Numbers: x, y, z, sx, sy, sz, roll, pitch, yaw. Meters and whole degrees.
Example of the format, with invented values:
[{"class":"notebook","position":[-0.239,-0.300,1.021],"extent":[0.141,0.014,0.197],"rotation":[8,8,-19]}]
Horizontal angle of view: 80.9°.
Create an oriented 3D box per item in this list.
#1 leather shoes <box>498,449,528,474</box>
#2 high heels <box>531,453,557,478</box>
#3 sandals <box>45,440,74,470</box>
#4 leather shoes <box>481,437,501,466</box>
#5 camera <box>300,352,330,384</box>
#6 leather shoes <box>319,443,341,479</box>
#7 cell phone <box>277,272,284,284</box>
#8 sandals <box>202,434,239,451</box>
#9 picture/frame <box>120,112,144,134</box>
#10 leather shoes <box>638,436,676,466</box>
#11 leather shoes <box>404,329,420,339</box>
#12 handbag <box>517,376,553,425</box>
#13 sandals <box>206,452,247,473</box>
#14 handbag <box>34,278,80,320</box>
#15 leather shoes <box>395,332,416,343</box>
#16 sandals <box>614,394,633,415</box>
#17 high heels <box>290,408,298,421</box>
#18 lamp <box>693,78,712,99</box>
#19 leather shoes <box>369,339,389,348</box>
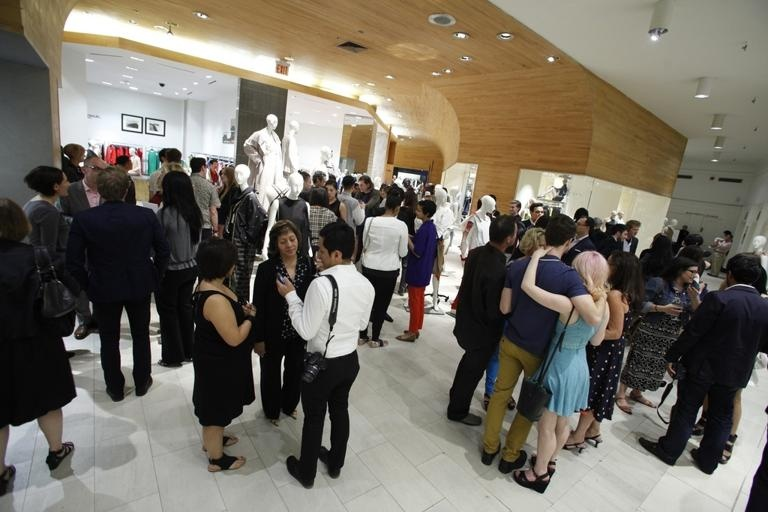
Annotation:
[{"class":"leather shoes","position":[1.388,2.121,4.756],"extent":[0.399,0.163,0.144],"rotation":[-7,11,-43]},{"class":"high heels","position":[1.640,2.124,4.658],"extent":[0.201,0.140,0.359],"rotation":[0,10,-3]},{"class":"sandals","position":[-3.037,1.859,4.280],"extent":[0.129,0.144,0.341],"rotation":[-2,10,-7]},{"class":"leather shoes","position":[1.154,2.076,4.701],"extent":[0.111,0.224,0.326],"rotation":[2,35,25]},{"class":"camera","position":[-0.613,0.956,3.969],"extent":[0.239,0.252,0.125],"rotation":[16,-1,2]},{"class":"leather shoes","position":[-0.552,2.010,4.426],"extent":[0.134,0.165,0.387],"rotation":[-5,27,-20]},{"class":"cell phone","position":[-0.930,0.187,4.069],"extent":[0.060,0.090,0.107],"rotation":[1,13,-15]},{"class":"sandals","position":[-1.621,1.846,4.514],"extent":[0.356,0.096,0.133],"rotation":[-1,5,-39]},{"class":"picture/frame","position":[-7.694,-4.111,13.664],"extent":[0.596,0.632,0.060],"rotation":[-18,25,-22]},{"class":"leather shoes","position":[3.100,2.194,5.134],"extent":[0.143,0.163,0.409],"rotation":[-18,24,-11]},{"class":"leather shoes","position":[0.413,1.118,6.520],"extent":[0.201,0.078,0.119],"rotation":[13,-3,-5]},{"class":"handbag","position":[1.448,1.357,4.303],"extent":[0.267,0.367,0.152],"rotation":[2,14,-10]},{"class":"sandals","position":[-1.528,1.979,4.367],"extent":[0.286,0.109,0.159],"rotation":[-3,7,-17]},{"class":"handbag","position":[-2.900,0.366,3.958],"extent":[0.180,0.339,0.335],"rotation":[-9,9,-14]},{"class":"leather shoes","position":[0.286,1.161,6.486],"extent":[0.349,0.148,0.116],"rotation":[7,0,-8]},{"class":"sandals","position":[3.055,1.875,5.717],"extent":[0.131,0.083,0.333],"rotation":[0,2,1]},{"class":"high heels","position":[-0.981,1.719,4.895],"extent":[0.071,0.118,0.034],"rotation":[-20,42,21]},{"class":"lamp","position":[5.688,-3.041,8.001],"extent":[0.190,0.277,0.244],"rotation":[14,16,35]},{"class":"leather shoes","position":[-0.087,1.197,6.289],"extent":[0.201,0.083,0.116],"rotation":[-5,9,-29]}]
